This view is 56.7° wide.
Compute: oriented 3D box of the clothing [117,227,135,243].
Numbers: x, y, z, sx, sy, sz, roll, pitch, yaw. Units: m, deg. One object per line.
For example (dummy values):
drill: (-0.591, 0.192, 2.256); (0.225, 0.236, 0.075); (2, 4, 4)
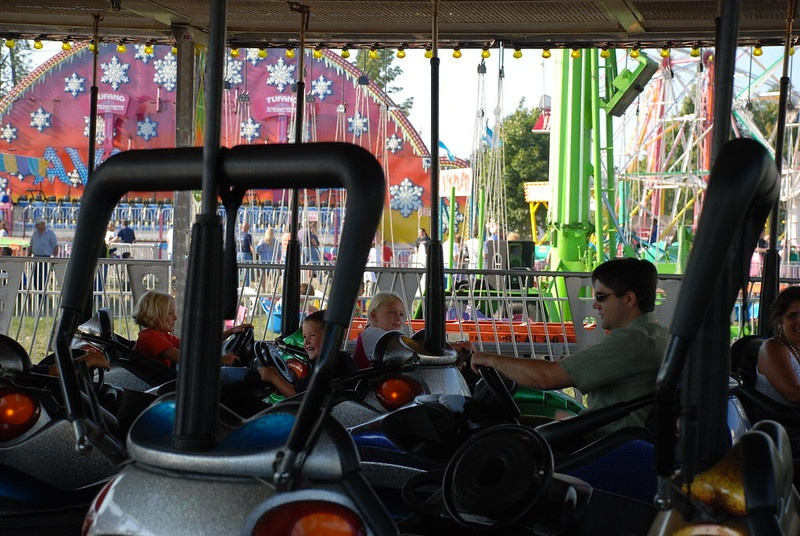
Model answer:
clothing: (-5.268, -0.622, 14.222); (0.337, 0.405, 0.203); (-2, 10, -14)

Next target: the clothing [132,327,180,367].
clothing: (-1.325, 0.451, 3.949); (0.138, 0.275, 0.232); (-13, 14, -35)

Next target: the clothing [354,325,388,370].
clothing: (-0.147, 0.434, 3.515); (0.122, 0.253, 0.170); (-12, -2, -3)

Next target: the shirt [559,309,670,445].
shirt: (0.710, 0.365, 2.546); (0.203, 0.394, 0.378); (18, 17, 31)
